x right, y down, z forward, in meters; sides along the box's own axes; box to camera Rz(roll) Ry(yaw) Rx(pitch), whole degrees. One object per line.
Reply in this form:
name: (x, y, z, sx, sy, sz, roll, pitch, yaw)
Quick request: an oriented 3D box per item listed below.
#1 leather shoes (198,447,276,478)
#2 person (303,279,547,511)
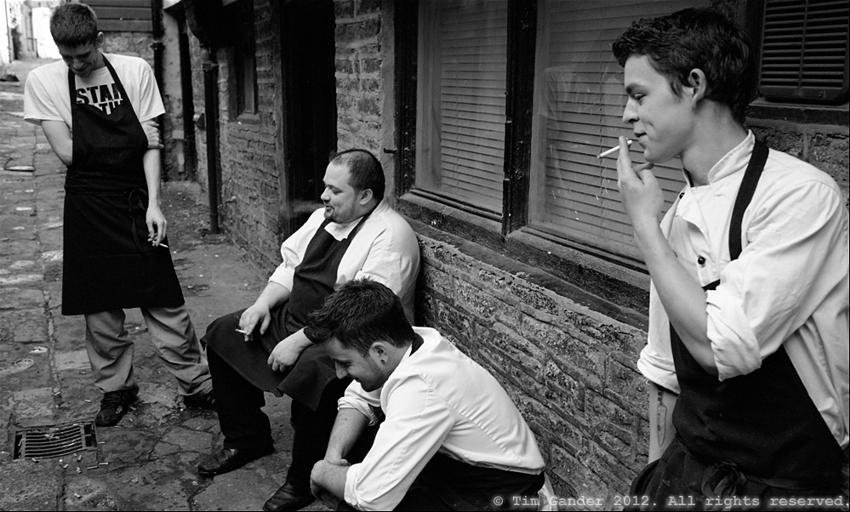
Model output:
leather shoes: (-1.354, 1.410, 4.196, 0.502, 0.190, 0.180, -8, 14, -27)
person: (0.017, 0.662, 3.434, 1.229, 1.466, 1.048, -10, 6, 5)
